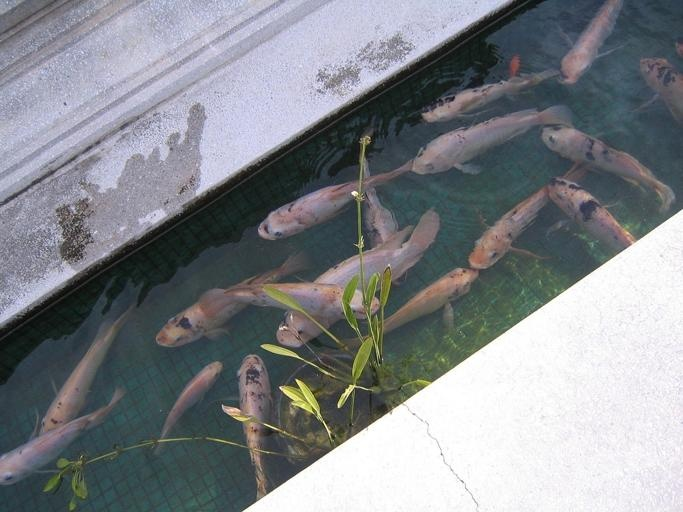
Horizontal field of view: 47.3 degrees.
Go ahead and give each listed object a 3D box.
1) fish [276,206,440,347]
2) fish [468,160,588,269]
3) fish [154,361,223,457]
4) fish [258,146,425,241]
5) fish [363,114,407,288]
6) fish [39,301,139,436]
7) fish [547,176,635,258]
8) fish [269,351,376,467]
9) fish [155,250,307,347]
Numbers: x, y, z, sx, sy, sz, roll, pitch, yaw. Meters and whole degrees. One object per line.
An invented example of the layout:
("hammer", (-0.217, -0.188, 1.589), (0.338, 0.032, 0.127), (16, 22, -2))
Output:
("fish", (0.113, 0.161, 5.017), (0.806, 0.333, 0.250), (-42, 70, -5))
("fish", (1.128, -0.207, 5.118), (0.332, 0.225, 0.701), (40, 89, 24))
("fish", (-0.971, 1.002, 4.975), (0.096, 0.194, 0.513), (31, 86, 5))
("fish", (-0.021, -0.399, 5.233), (0.700, 0.313, 0.136), (-29, 49, -3))
("fish", (0.255, -0.447, 5.149), (0.168, 0.878, 0.302), (-10, 8, 34))
("fish", (-1.556, 0.794, 5.152), (0.220, 0.407, 1.208), (23, 69, -5))
("fish", (1.619, -0.235, 5.086), (0.100, 0.193, 0.469), (-27, 73, -19))
("fish", (-0.137, 0.916, 4.782), (0.322, 0.448, 0.160), (-34, 25, 17))
("fish", (-0.706, 0.301, 5.103), (0.655, 0.258, 0.175), (-33, 86, -6))
